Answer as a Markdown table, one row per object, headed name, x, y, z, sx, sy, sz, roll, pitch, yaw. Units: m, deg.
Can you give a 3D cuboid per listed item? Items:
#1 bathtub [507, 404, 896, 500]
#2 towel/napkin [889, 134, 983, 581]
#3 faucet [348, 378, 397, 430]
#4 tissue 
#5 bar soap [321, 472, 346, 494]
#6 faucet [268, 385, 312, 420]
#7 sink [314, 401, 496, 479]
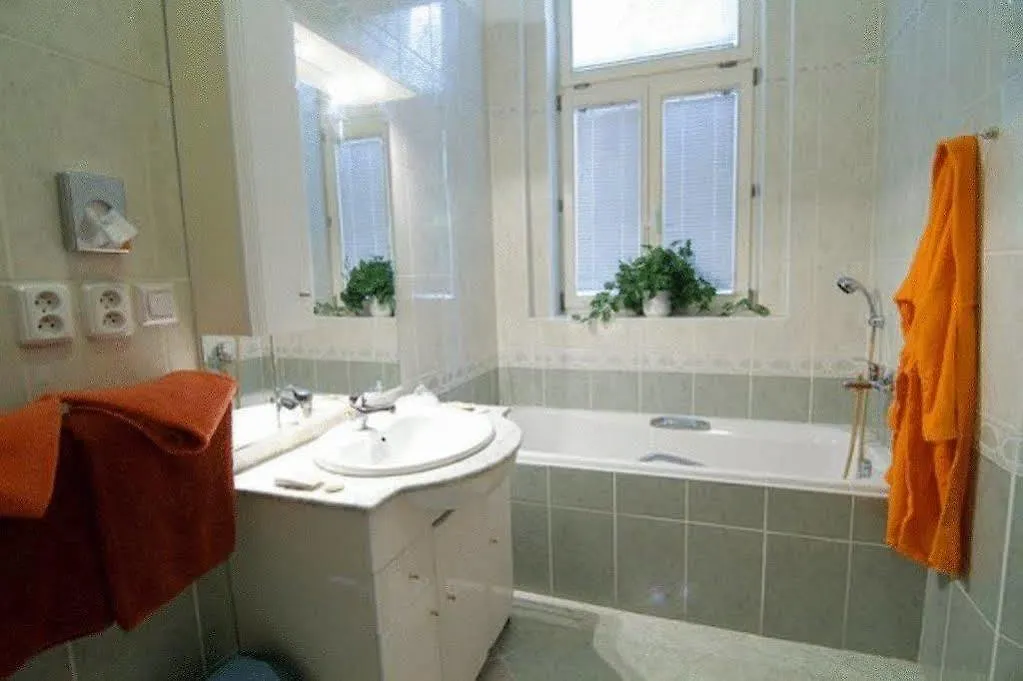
| name | x | y | z | sx | sy | sz | roll | pitch | yaw |
| --- | --- | --- | --- | --- | --- | --- | --- | --- | --- |
| bathtub | 0.832 | 0.547 | 3.601 | 1.793 | 0.325 | 0.829 | -2 | 6 | 17 |
| towel/napkin | 1.552 | 0.093 | 2.793 | 0.282 | 1.653 | 0.381 | -8 | 8 | -29 |
| faucet | -0.548 | 0.254 | 3.010 | 0.146 | 0.109 | 0.207 | 1 | 9 | 21 |
| tissue  | -1.258 | -0.387 | 2.266 | 0.161 | 0.230 | 0.153 | 3 | 19 | -5 |
| bar soap | -0.592 | 0.478 | 2.498 | 0.075 | 0.034 | 0.119 | -5 | 5 | -14 |
| faucet | -0.818 | 0.230 | 2.767 | 0.122 | 0.110 | 0.088 | 3 | 14 | -1 |
| sink | -0.362 | 0.426 | 2.771 | 0.601 | 0.178 | 0.715 | -1 | 11 | 22 |
